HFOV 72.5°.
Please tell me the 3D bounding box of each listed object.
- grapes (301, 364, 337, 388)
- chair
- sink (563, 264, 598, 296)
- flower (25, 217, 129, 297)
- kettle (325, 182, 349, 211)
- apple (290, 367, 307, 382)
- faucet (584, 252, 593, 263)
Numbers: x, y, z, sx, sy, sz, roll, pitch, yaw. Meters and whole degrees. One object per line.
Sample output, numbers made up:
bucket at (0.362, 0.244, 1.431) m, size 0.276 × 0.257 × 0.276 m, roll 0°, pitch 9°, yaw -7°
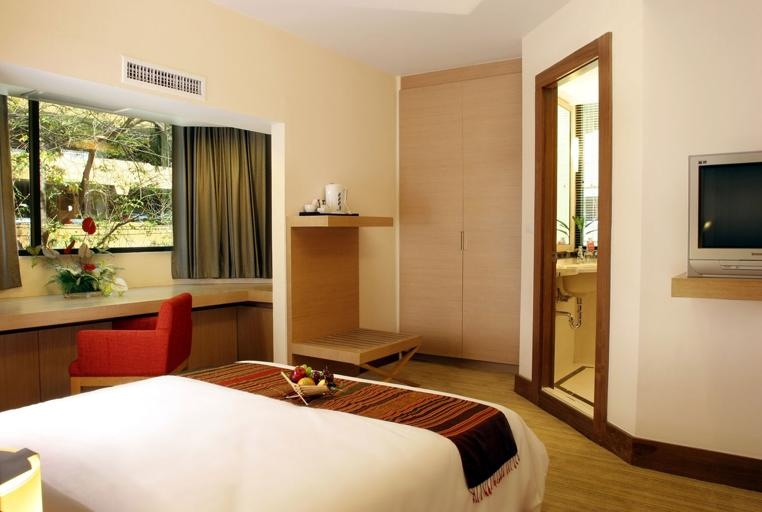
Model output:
grapes at (-0.384, 0.757, 3.275) m, size 0.142 × 0.081 × 0.181 m, roll -2°, pitch -11°, yaw -45°
chair at (-2.009, 0.673, 4.453) m, size 0.806 × 0.889 × 0.808 m, roll 0°, pitch -3°, yaw 6°
sink at (2.007, 0.237, 5.249) m, size 0.312 × 0.175 × 0.476 m, roll 0°, pitch 2°, yaw 25°
flower at (-2.833, 0.037, 5.030) m, size 0.793 × 0.575 × 0.823 m, roll 2°, pitch 0°, yaw 28°
kettle at (-0.437, -0.569, 4.981) m, size 0.213 × 0.275 × 0.254 m, roll -4°, pitch -5°, yaw 37°
apple at (-0.529, 0.747, 3.308) m, size 0.081 × 0.114 × 0.079 m, roll 8°, pitch -11°, yaw -11°
faucet at (2.206, 0.012, 5.504) m, size 0.112 × 0.132 × 0.115 m, roll 2°, pitch 2°, yaw 11°
